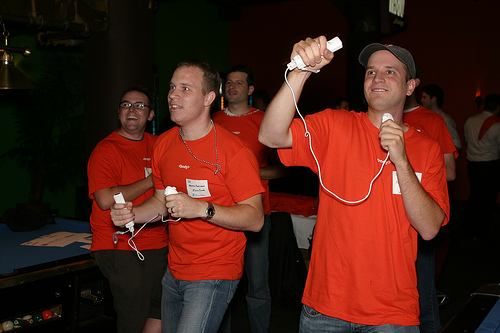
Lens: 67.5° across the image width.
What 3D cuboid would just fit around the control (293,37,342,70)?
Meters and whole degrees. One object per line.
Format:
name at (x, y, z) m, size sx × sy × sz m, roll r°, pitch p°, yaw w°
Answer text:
control at (0.380, -0.619, 2.053) m, size 0.300 × 0.171 × 0.122 m, roll -5°, pitch 15°, yaw -12°

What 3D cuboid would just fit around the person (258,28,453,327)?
person at (0.656, 0.101, 2.151) m, size 0.956 × 1.623 × 0.696 m, roll -8°, pitch 16°, yaw -24°

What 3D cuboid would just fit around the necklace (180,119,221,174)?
necklace at (-0.291, -0.132, 2.565) m, size 0.171 × 0.341 × 0.058 m, roll -23°, pitch -12°, yaw -6°

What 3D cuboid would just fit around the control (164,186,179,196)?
control at (-0.486, 0.156, 2.327) m, size 0.069 × 0.032 × 0.088 m, roll 0°, pitch 7°, yaw -6°

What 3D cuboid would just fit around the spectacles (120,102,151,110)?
spectacles at (-1.054, -0.556, 3.409) m, size 0.235 × 0.060 × 0.099 m, roll -6°, pitch 16°, yaw -16°

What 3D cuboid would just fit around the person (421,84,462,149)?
person at (2.798, -0.663, 5.660) m, size 0.398 × 1.096 × 1.109 m, roll 1°, pitch 10°, yaw 17°

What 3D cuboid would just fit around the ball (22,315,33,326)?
ball at (-1.712, 1.189, 2.888) m, size 0.057 × 0.056 × 0.057 m, roll -7°, pitch -1°, yaw 0°
